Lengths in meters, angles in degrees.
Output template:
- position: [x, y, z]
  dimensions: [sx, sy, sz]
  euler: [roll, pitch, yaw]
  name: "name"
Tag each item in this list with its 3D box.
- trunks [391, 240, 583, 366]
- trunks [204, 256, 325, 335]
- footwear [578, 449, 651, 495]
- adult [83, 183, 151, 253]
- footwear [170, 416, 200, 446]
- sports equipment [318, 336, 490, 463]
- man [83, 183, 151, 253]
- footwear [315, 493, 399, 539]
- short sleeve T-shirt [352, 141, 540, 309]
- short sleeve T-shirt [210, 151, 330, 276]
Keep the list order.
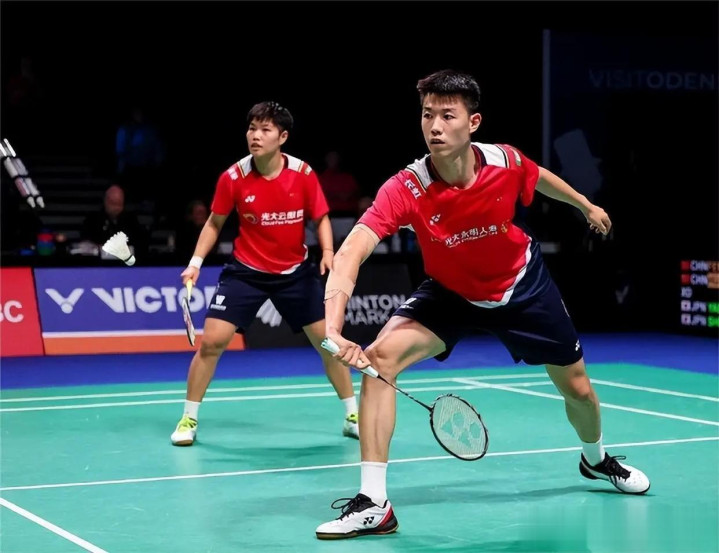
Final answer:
- position: [0.631, 0.097, 3.152]
  dimensions: [0.966, 0.691, 0.450]
  euler: [2, 5, 5]
  name: "trunks"
- position: [-0.719, 0.102, 4.906]
  dimensions: [1.027, 0.669, 0.391]
  euler: [1, -9, -20]
  name: "trunks"
- position: [1.405, 1.072, 3.464]
  dimensions: [0.390, 0.189, 0.172]
  euler: [16, -22, 27]
  name: "footwear"
- position: [-3.663, -0.857, 9.327]
  dimensions: [0.932, 1.018, 0.622]
  euler: [0, 0, -22]
  name: "adult"
- position: [-1.279, 1.128, 4.579]
  dimensions: [0.203, 0.191, 0.172]
  euler: [0, 0, -32]
  name: "footwear"
- position: [0.268, 0.841, 4.112]
  dimensions: [0.931, 0.352, 0.071]
  euler: [30, -26, -17]
  name: "sports equipment"
- position: [-3.659, -0.857, 9.329]
  dimensions: [0.938, 1.018, 0.622]
  euler: [0, 0, -23]
  name: "man"
- position: [-0.007, 1.064, 2.826]
  dimensions: [0.338, 0.185, 0.178]
  euler: [4, -9, -14]
  name: "footwear"
- position: [0.518, -0.250, 2.898]
  dimensions: [0.938, 0.692, 0.374]
  euler: [-20, 27, -9]
  name: "short sleeve T-shirt"
- position: [-0.689, -0.491, 4.902]
  dimensions: [0.879, 0.935, 0.499]
  euler: [-1, 21, -13]
  name: "short sleeve T-shirt"
